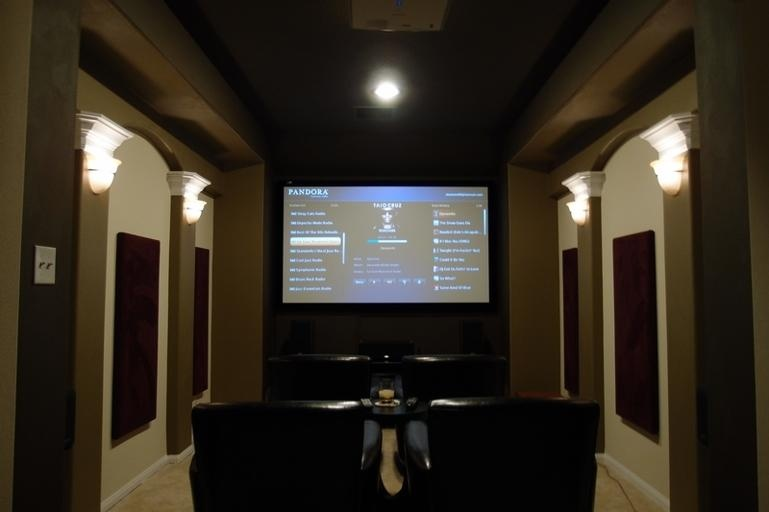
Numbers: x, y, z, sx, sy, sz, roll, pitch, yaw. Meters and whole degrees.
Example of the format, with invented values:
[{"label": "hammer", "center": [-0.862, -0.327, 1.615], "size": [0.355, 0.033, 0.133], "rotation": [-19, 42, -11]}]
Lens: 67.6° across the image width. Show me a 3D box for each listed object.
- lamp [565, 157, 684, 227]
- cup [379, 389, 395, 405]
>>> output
[{"label": "lamp", "center": [1.961, -0.580, 4.718], "size": [0.290, 0.439, 1.436], "rotation": [2, -7, -12]}, {"label": "cup", "center": [0.030, 1.038, 4.238], "size": [0.087, 0.070, 0.091], "rotation": [0, -8, 0]}]
